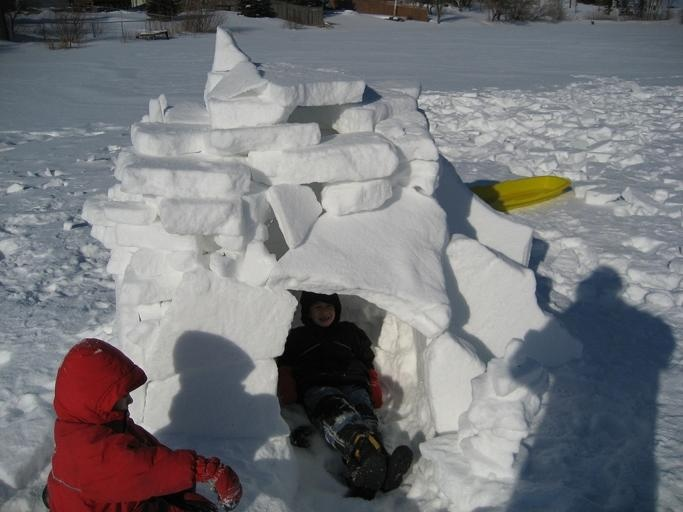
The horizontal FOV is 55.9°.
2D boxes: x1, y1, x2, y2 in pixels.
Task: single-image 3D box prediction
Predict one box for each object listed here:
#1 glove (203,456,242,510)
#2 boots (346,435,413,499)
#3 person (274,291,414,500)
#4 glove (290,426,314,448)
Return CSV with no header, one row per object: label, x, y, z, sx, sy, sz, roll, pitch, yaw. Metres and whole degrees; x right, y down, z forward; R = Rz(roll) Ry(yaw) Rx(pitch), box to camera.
glove,-0.608,1.150,3.322,0.166,0.280,0.132,-27,-11,-25
boots,0.238,1.313,3.982,0.417,0.386,0.225,1,16,-1
person,-0.009,0.886,4.436,0.720,0.515,1.509,-5,42,-20
glove,-0.268,1.223,4.365,0.154,0.093,0.159,0,14,-3
